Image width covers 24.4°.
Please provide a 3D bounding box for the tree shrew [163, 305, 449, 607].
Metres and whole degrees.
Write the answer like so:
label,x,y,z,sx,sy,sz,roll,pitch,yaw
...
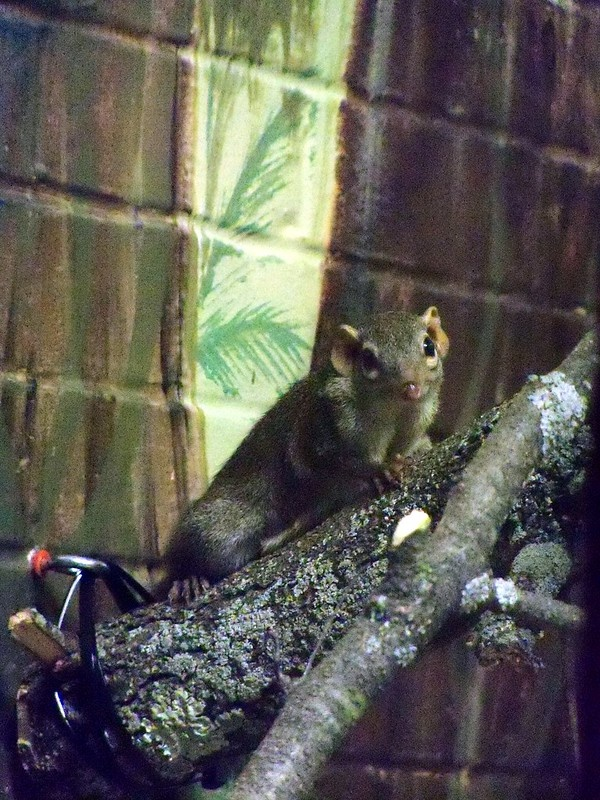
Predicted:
label,x,y,z,sx,sy,sz,roll,pitch,yaw
tree shrew,-0.028,0.084,3.292,0.466,0.453,0.788,0,-34,-49
